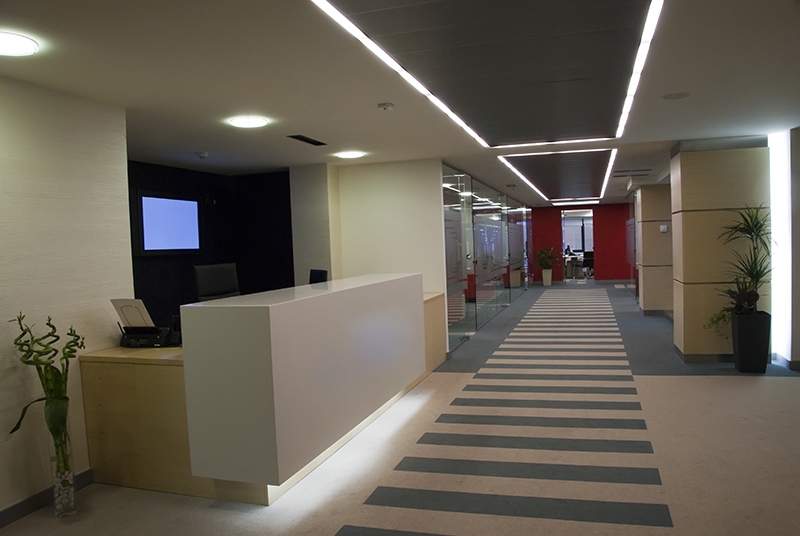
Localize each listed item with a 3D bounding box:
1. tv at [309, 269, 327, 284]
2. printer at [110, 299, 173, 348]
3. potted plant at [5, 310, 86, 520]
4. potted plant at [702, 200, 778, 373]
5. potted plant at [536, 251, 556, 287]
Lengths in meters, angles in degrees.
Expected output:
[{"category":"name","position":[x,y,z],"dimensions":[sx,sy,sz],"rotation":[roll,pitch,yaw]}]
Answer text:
[{"category":"tv","position":[-1.243,0.128,8.032],"dimensions":[0.210,0.179,0.441],"rotation":[-5,5,-20]},{"category":"printer","position":[-2.632,0.551,5.487],"dimensions":[0.507,0.396,0.581],"rotation":[0,-2,10]},{"category":"potted plant","position":[-3.270,1.324,4.983],"dimensions":[0.558,1.866,0.671],"rotation":[-4,5,-5]},{"category":"potted plant","position":[5.157,0.299,7.780],"dimensions":[0.822,2.382,0.626],"rotation":[-3,5,10]},{"category":"potted plant","position":[5.935,-0.042,21.432],"dimensions":[0.591,1.463,0.814],"rotation":[-2,5,17]}]
